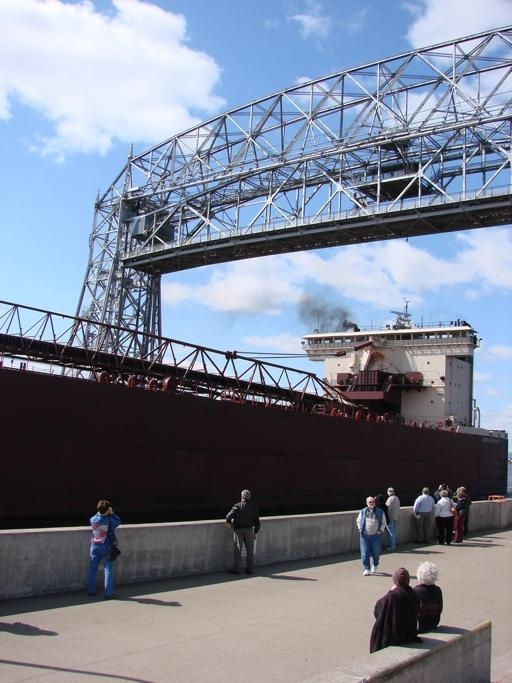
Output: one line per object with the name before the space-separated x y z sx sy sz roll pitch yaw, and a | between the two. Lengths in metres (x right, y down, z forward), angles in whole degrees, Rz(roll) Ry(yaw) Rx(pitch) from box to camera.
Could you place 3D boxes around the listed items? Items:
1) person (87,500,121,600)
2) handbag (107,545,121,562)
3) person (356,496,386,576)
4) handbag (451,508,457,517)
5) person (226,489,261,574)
person | -1.723 2.341 8.059 0.347 1.063 0.379 6 -7 -10
handbag | -1.596 2.369 8.021 0.079 0.179 0.163 2 -7 20
person | 1.664 2.833 10.418 0.348 1.104 0.511 0 -8 34
handbag | 3.965 3.379 14.142 0.150 0.142 0.094 -6 -5 43
person | -0.202 2.629 9.847 0.454 1.128 0.442 5 -7 -3
